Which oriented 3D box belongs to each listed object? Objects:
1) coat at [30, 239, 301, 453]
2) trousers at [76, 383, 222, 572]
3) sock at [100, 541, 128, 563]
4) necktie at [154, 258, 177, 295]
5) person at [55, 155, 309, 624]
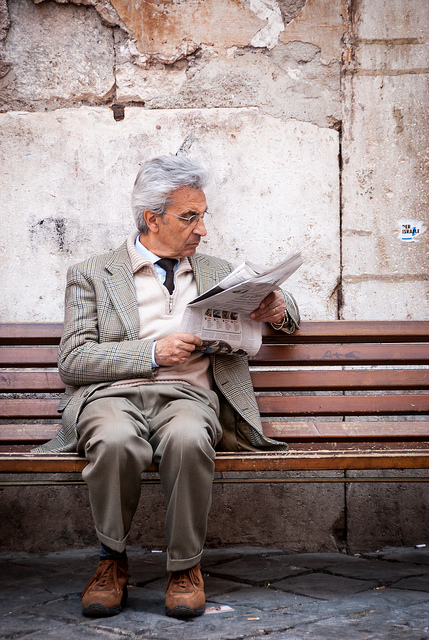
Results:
[{"bbox_3d":[-0.166,0.091,2.953,1.067,0.834,0.575,3,0,-19],"label":"coat"},{"bbox_3d":[-0.221,0.495,2.521,0.489,0.527,0.454,0,3,1],"label":"trousers"},{"bbox_3d":[-0.309,0.732,2.385,0.060,0.078,0.083,-1,-9,-3],"label":"sock"},{"bbox_3d":[-0.170,-0.168,2.896,0.087,0.131,0.037,1,-18,-13],"label":"necktie"},{"bbox_3d":[-0.151,0.203,2.769,0.821,1.645,1.086,-1,4,-10],"label":"person"}]
